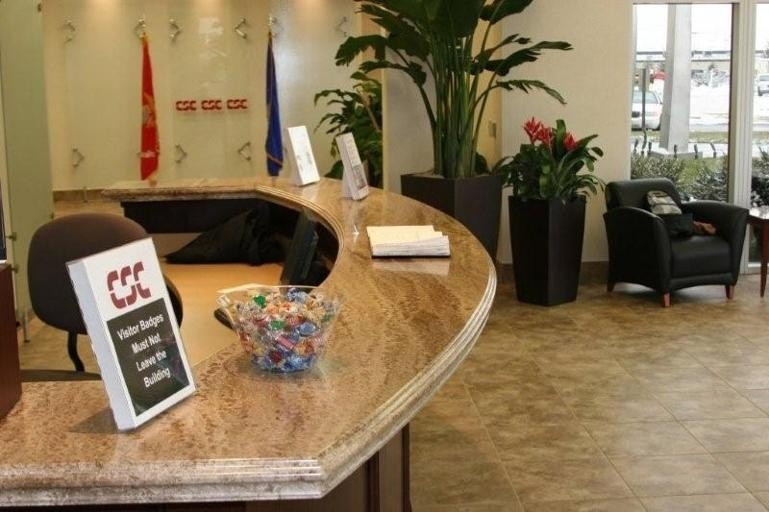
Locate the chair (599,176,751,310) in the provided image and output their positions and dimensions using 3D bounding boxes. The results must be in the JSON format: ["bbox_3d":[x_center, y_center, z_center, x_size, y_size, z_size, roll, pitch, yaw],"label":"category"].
[{"bbox_3d":[2.800,-0.160,5.812,1.091,1.121,1.227,-7,10,-20],"label":"chair"}]

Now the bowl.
[{"bbox_3d":[-0.300,0.197,1.654,0.250,0.199,0.327,-12,14,-44],"label":"bowl"}]

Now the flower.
[{"bbox_3d":[1.561,-0.864,5.675,0.937,0.696,0.950,-3,10,-10],"label":"flower"}]

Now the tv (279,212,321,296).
[{"bbox_3d":[-0.395,-0.034,2.822,0.078,0.299,0.300,28,3,-3],"label":"tv"}]
